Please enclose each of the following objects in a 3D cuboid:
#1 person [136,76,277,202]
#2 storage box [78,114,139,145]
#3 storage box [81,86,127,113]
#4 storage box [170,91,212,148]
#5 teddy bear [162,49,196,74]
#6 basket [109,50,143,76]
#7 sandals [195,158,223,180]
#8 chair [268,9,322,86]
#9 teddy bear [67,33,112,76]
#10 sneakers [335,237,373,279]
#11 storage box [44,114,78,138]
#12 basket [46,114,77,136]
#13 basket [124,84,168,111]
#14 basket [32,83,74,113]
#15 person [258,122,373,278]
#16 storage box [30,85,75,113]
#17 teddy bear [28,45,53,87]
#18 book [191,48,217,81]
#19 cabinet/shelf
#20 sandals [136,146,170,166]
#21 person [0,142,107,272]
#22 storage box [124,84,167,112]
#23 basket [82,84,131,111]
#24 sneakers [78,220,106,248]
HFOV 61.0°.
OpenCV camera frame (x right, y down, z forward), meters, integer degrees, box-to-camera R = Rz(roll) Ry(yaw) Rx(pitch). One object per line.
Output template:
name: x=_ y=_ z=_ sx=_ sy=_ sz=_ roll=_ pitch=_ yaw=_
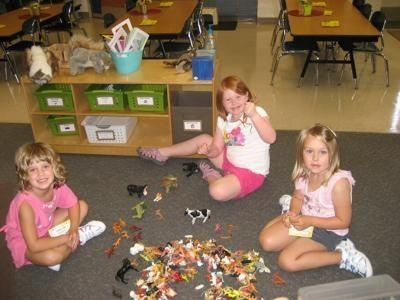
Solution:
person: x=0.086 y=-0.137 z=3.067 sx=1.195 sy=0.941 sz=0.797 roll=1 pitch=47 yaw=-4
storage box: x=-0.996 y=-0.338 z=3.812 sx=0.561 sy=0.253 sz=0.700 roll=-5 pitch=33 yaw=-11
storage box: x=-0.977 y=-0.519 z=3.535 sx=0.367 sy=0.194 sz=0.269 roll=-1 pitch=28 yaw=-2
storage box: x=-0.068 y=-0.376 z=3.566 sx=0.538 sy=0.501 sz=0.511 roll=-2 pitch=24 yaw=0
teddy bear: x=-0.197 y=-0.893 z=3.435 sx=0.328 sy=0.128 sz=0.250 roll=-36 pitch=59 yaw=-28
basket: x=-0.748 y=-0.888 z=3.474 sx=0.262 sy=0.171 sz=0.260 roll=0 pitch=28 yaw=2
sandals: x=0.091 y=0.183 z=3.280 sx=0.108 sy=0.113 sz=0.315 roll=-24 pitch=40 yaw=-11
chair: x=1.477 y=-1.532 z=5.192 sx=0.776 sy=1.019 sz=1.398 roll=-3 pitch=34 yaw=6
teddy bear: x=-1.164 y=-0.966 z=3.603 sx=0.458 sy=0.263 sz=0.482 roll=-4 pitch=40 yaw=-10
sneakers: x=1.079 y=0.762 z=2.426 sx=0.136 sy=0.124 sz=0.317 roll=11 pitch=21 yaw=-40
storage box: x=-1.467 y=-0.267 z=3.633 sx=0.291 sy=0.192 sz=0.202 roll=-3 pitch=27 yaw=-6
basket: x=-1.464 y=-0.266 z=3.625 sx=0.293 sy=0.194 sz=0.195 roll=-3 pitch=25 yaw=-7
basket: x=-0.556 y=-0.568 z=3.473 sx=0.376 sy=0.183 sz=0.264 roll=-2 pitch=30 yaw=-2
basket: x=-1.488 y=-0.532 z=3.562 sx=0.384 sy=0.250 sz=0.280 roll=-2 pitch=31 yaw=-6
person: x=0.796 y=0.340 z=2.507 sx=0.596 sy=1.001 sz=1.066 roll=-13 pitch=19 yaw=-23
storage box: x=-1.490 y=-0.515 z=3.552 sx=0.338 sy=0.203 sz=0.332 roll=-1 pitch=30 yaw=-7
teddy bear: x=-1.600 y=-0.836 z=3.447 sx=0.228 sy=0.228 sz=0.493 roll=-18 pitch=60 yaw=0
book: x=0.036 y=-0.790 z=3.331 sx=0.239 sy=0.280 sz=0.420 roll=1 pitch=33 yaw=5
cabinet/shelf: x=-0.770 y=-0.438 z=3.723 sx=1.904 sy=0.840 sz=0.671 roll=1 pitch=25 yaw=1
sandals: x=-0.480 y=0.050 z=3.489 sx=0.347 sy=0.133 sz=0.135 roll=16 pitch=42 yaw=7
person: x=-1.099 y=0.462 z=2.571 sx=0.623 sy=0.718 sz=0.548 roll=10 pitch=41 yaw=-6
storage box: x=-0.553 y=-0.533 z=3.494 sx=0.386 sy=0.182 sz=0.271 roll=-2 pitch=31 yaw=-1
basket: x=-0.978 y=-0.527 z=3.550 sx=0.368 sy=0.215 sz=0.282 roll=-2 pitch=32 yaw=-2
sneakers: x=-0.857 y=0.633 z=2.656 sx=0.255 sy=0.094 sz=0.108 roll=-31 pitch=20 yaw=-22
